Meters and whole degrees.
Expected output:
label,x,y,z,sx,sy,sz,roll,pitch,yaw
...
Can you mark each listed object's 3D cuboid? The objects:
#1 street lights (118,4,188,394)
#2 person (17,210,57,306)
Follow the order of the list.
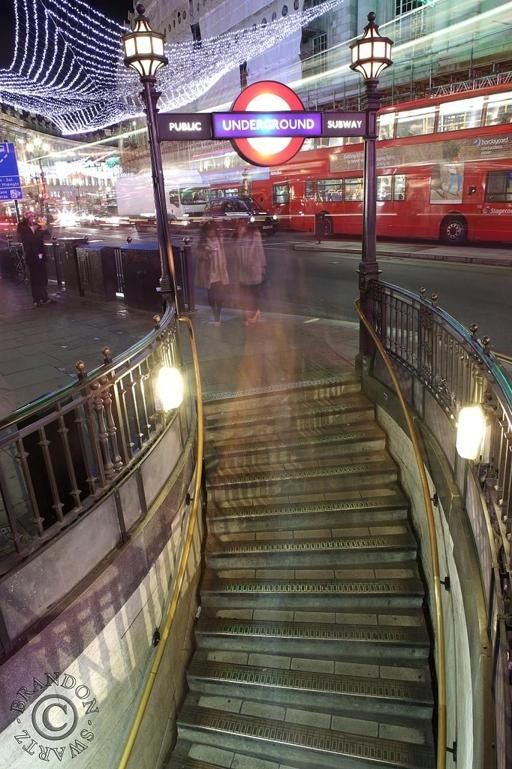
label,x,y,z,sx,sy,sz,roll,pitch,yaw
street lights,-1.194,-2.675,5.327,0.485,3.609,0.690,-6,14,-13
person,-5.880,-3.301,11.798,0.597,2.332,1.100,-9,15,-24
